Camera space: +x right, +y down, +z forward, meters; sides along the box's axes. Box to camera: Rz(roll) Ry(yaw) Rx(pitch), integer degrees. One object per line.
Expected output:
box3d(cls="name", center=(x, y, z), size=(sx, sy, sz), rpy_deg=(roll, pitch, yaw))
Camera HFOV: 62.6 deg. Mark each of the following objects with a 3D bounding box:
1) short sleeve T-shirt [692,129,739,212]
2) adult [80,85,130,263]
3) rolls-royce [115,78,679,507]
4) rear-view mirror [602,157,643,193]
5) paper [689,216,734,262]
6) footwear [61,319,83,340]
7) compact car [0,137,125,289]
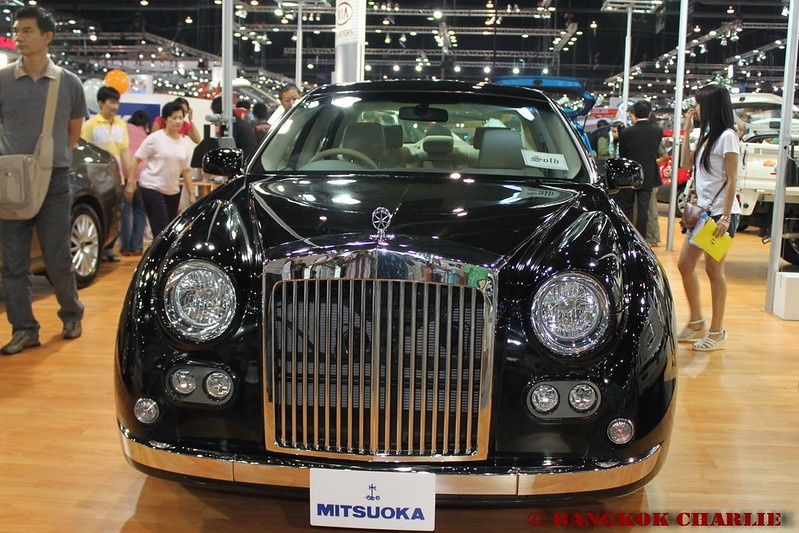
box3d(cls="short sleeve T-shirt", center=(2.344, -0.695, 4.896), size=(0.132, 0.626, 0.323), rpy_deg=(-3, 11, -31))
box3d(cls="adult", center=(-3.331, -1.075, 7.697), size=(0.503, 1.999, 0.531), rpy_deg=(-1, 5, 39))
box3d(cls="rolls-royce", center=(0.111, -0.164, 4.009), size=(1.652, 1.338, 2.921), rpy_deg=(1, 7, 5))
box3d(cls="rear-view mirror", center=(1.283, -0.506, 3.784), size=(0.237, 0.246, 0.189), rpy_deg=(11, 16, 38))
box3d(cls="paper", center=(2.253, -0.195, 4.790), size=(0.299, 0.296, 0.082), rpy_deg=(40, 17, 0))
box3d(cls="footwear", center=(-2.476, 0.481, 4.991), size=(0.070, 0.099, 0.219), rpy_deg=(1, -3, -11))
box3d(cls="compact car", center=(-3.081, -0.565, 6.741), size=(0.901, 0.870, 1.832), rpy_deg=(3, 12, 14))
